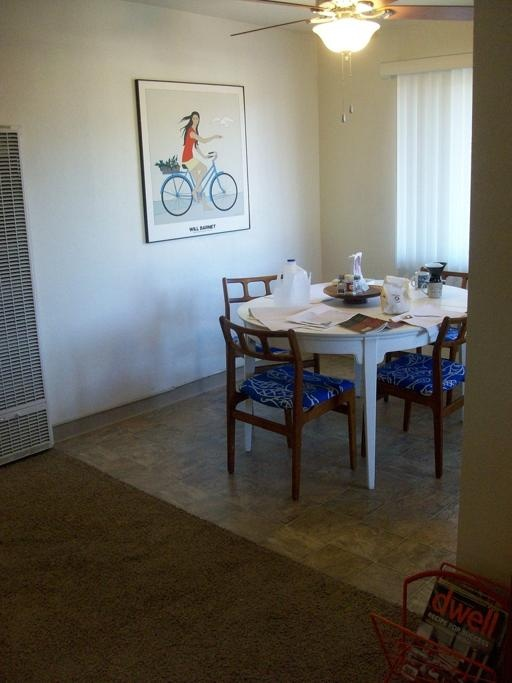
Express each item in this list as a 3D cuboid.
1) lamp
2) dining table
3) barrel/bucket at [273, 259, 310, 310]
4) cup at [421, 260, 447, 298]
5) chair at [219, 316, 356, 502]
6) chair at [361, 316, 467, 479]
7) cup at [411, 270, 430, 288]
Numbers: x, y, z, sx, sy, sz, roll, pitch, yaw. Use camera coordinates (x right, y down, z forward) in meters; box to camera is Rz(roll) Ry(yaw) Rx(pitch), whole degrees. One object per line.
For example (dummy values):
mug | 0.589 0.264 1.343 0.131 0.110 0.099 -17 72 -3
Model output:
lamp | 0.368 -1.084 2.247 0.291 0.316 0.278 -14 16 -35
dining table | 0.582 0.003 2.772 1.037 0.659 0.982 -14 19 -43
barrel/bucket | 0.196 -0.296 2.924 0.186 0.268 0.194 -7 19 2
cup | 0.954 -0.344 3.031 0.185 0.187 0.108 1 9 25
chair | 0.165 0.270 2.634 0.563 0.779 0.541 -9 15 -31
chair | 0.834 0.213 2.751 0.456 0.710 0.409 9 15 44
cup | 0.943 -0.354 3.119 0.065 0.111 0.109 -13 22 -27
